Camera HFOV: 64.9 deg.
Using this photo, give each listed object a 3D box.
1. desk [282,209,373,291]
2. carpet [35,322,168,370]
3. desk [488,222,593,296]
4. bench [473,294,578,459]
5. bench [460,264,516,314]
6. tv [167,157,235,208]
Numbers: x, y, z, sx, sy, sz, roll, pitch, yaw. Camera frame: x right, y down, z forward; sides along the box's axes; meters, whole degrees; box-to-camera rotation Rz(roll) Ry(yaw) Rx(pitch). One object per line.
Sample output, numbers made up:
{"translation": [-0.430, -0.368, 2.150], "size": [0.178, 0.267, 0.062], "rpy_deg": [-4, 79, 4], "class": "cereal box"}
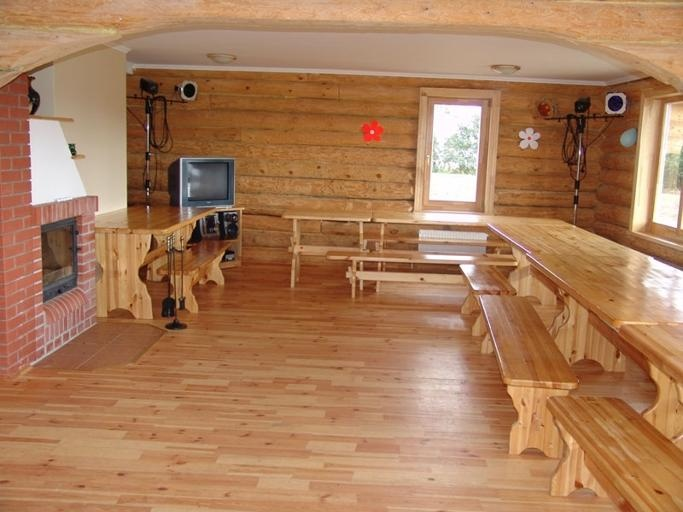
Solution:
{"translation": [-0.167, -0.082, 7.336], "size": [1.652, 0.949, 0.497], "rpy_deg": [1, 30, 1], "class": "desk"}
{"translation": [-2.142, 0.838, 4.800], "size": [0.858, 0.032, 1.122], "rpy_deg": [1, 18, 9], "class": "carpet"}
{"translation": [1.887, 0.023, 5.106], "size": [0.543, 0.208, 1.037], "rpy_deg": [0, 15, 3], "class": "desk"}
{"translation": [1.302, 0.864, 3.795], "size": [0.444, 0.364, 1.232], "rpy_deg": [-1, 15, 8], "class": "bench"}
{"translation": [1.439, 0.321, 5.290], "size": [0.279, 0.195, 0.661], "rpy_deg": [1, 10, 3], "class": "bench"}
{"translation": [-1.935, -0.985, 7.303], "size": [0.942, 0.481, 0.825], "rpy_deg": [-2, 5, -22], "class": "tv"}
